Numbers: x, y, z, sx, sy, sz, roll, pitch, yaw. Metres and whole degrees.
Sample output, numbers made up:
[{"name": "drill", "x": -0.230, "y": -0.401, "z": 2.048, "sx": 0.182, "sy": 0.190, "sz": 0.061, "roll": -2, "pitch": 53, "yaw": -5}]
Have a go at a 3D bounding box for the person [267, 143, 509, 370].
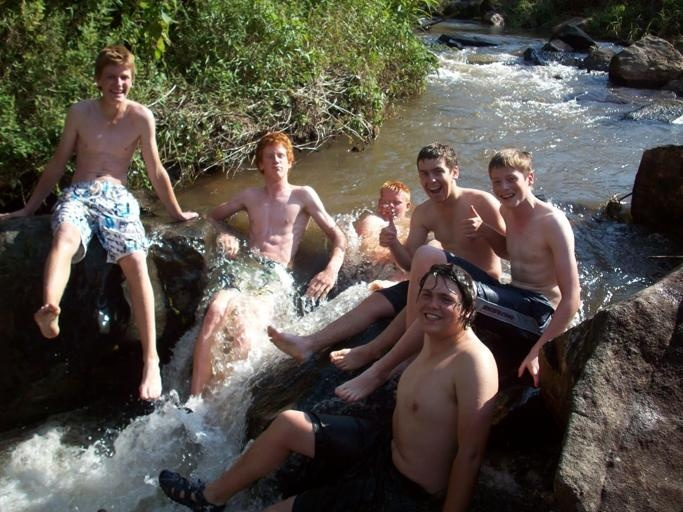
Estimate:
[{"name": "person", "x": 0.455, "y": -0.068, "z": 4.610, "sx": 2.116, "sy": 1.717, "sz": 1.095, "roll": -8, "pitch": 6, "yaw": -27}]
